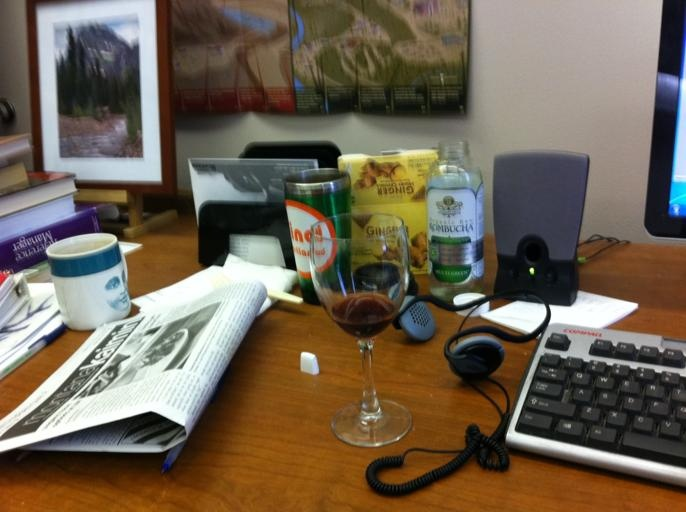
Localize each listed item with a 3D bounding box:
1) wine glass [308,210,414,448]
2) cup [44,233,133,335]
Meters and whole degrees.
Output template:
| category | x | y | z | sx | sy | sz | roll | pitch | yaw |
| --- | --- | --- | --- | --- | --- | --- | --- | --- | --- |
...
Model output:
| category | x | y | z | sx | sy | sz | roll | pitch | yaw |
| --- | --- | --- | --- | --- | --- | --- | --- | --- | --- |
| wine glass | 0.026 | 0.075 | 0.701 | 0.120 | 0.239 | 0.206 | -2 | 19 | 6 |
| cup | -0.407 | 0.040 | 0.956 | 0.107 | 0.154 | 0.171 | -4 | 16 | -10 |
